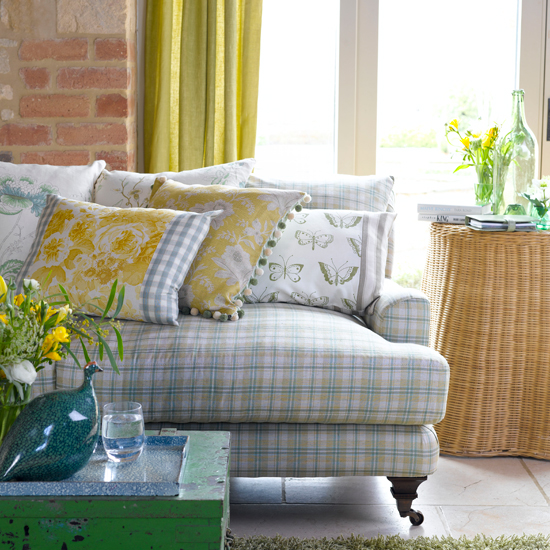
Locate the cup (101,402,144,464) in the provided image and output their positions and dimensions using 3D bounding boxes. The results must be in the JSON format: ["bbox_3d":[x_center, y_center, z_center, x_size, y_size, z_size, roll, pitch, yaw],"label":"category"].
[{"bbox_3d":[-0.268,0.278,1.149,0.102,0.092,0.112,0,-2,0],"label":"cup"}]

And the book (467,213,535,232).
[{"bbox_3d":[0.759,-0.176,2.212,0.216,0.056,0.192,1,5,9],"label":"book"}]

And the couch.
[{"bbox_3d":[0.006,0.195,1.755,1.002,0.525,0.639,0,-5,3],"label":"couch"}]

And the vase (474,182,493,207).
[{"bbox_3d":[0.754,-0.291,2.370,0.064,0.089,0.095,3,7,15],"label":"vase"}]
